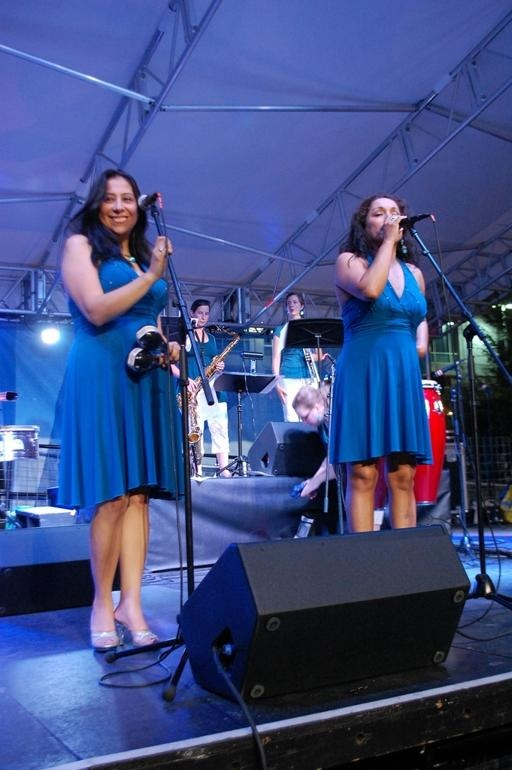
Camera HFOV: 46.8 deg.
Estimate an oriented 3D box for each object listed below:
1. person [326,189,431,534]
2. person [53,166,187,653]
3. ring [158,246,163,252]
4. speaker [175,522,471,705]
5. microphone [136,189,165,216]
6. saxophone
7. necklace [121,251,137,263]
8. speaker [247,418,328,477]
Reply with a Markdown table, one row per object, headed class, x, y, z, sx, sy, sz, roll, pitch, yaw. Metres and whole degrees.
| class | x | y | z | sx | sy | sz | roll | pitch | yaw |
| --- | --- | --- | --- | --- | --- | --- | --- | --- | --- |
| person | 0.439 | -0.119 | 2.174 | 0.343 | 1.276 | 0.459 | -8 | -7 | 29 |
| person | -0.441 | 0.032 | 1.907 | 0.386 | 1.536 | 0.551 | -3 | -6 | -9 |
| ring | -0.278 | -0.389 | 1.702 | 0.009 | 0.010 | 0.017 | 18 | 5 | -10 |
| speaker | 0.184 | 0.484 | 1.367 | 0.574 | 0.314 | 0.310 | 3 | -3 | -27 |
| microphone | -0.351 | -0.615 | 1.986 | 0.061 | 0.063 | 0.158 | 10 | -3 | -25 |
| saxophone | -0.532 | 0.053 | 6.324 | 0.331 | 0.339 | 1.769 | -13 | -24 | -40 |
| necklace | -0.449 | -0.428 | 2.038 | 0.022 | 0.051 | 0.042 | -50 | -23 | 14 |
| speaker | 0.268 | 0.513 | 4.410 | 0.558 | 0.358 | 0.399 | 13 | -11 | -27 |
